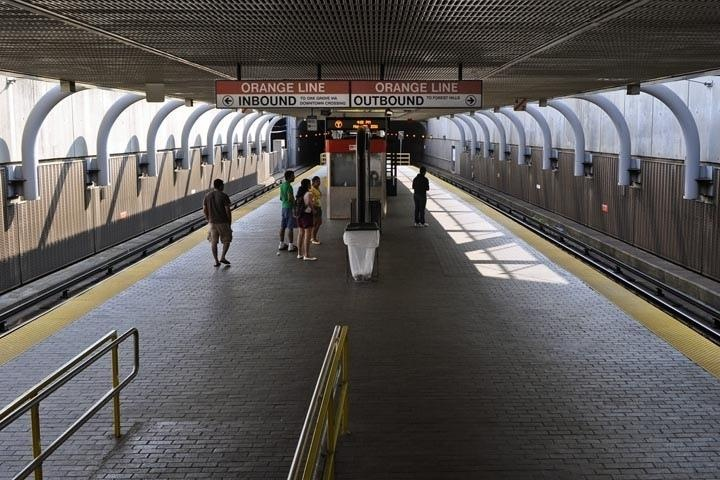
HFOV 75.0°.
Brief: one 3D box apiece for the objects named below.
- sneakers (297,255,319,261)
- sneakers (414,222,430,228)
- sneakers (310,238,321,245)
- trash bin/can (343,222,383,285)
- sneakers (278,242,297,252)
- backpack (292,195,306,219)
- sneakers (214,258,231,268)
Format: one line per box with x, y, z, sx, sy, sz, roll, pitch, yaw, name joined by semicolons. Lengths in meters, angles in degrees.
-1.409;0.500;12.622;0.565;0.230;0.177;-2;0;7;sneakers
2.359;-0.552;17.662;0.581;0.245;0.188;-5;7;-45;sneakers
-1.379;0.056;14.199;0.185;0.218;0.546;0;-3;-10;sneakers
0.047;0.273;10.790;0.757;1.277;0.658;-1;13;0;trash bin/can
-2.124;0.206;13.687;0.653;0.276;0.237;-3;10;-37;sneakers
-1.597;-0.838;12.132;0.192;0.562;0.485;-10;16;-35;backpack
-3.529;0.592;12.091;0.473;0.197;0.174;-1;8;-10;sneakers
